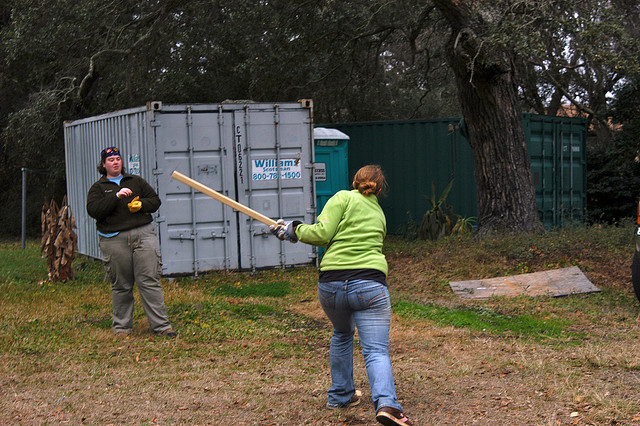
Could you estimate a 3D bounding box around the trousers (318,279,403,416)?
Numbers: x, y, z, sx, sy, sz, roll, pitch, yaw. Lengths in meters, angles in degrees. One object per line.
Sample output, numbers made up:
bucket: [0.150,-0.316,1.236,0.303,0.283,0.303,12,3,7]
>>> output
trousers: [0.633,1.983,12.747,0.875,2.409,1.589,-14,11,-39]
